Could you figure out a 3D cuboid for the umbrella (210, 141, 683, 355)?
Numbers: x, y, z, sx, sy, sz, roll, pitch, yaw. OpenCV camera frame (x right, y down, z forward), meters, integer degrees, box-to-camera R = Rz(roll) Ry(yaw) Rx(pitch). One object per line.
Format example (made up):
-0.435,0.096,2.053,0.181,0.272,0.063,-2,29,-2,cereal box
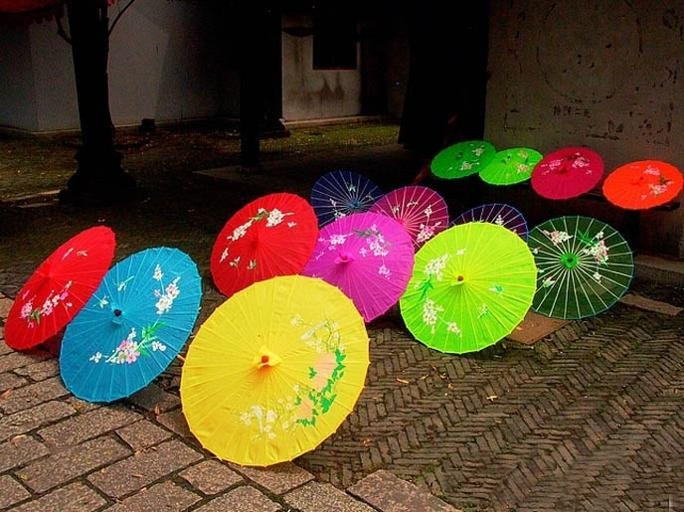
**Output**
1.427,-0.082,6.600,2.295,2.294,1.066,12,-23,17,umbrella
